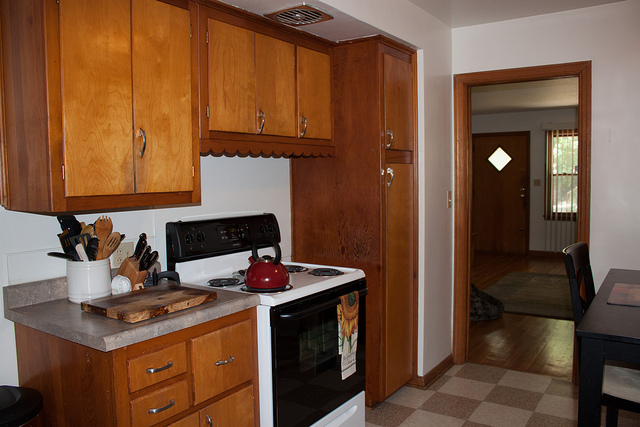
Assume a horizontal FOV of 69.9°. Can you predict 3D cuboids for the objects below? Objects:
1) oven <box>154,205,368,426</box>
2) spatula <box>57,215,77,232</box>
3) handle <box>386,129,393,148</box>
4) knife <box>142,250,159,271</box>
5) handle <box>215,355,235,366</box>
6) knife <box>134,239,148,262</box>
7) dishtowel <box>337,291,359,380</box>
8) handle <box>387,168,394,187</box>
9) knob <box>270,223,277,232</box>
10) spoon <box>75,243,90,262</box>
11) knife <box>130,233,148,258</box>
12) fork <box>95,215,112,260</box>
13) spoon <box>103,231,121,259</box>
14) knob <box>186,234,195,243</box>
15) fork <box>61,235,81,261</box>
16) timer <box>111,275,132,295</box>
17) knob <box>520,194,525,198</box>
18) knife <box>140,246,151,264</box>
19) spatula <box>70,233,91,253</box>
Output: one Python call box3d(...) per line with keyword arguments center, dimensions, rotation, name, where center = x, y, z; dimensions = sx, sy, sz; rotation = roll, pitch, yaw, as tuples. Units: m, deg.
box3d(center=(-0.322, 0.771, 2.985), dimensions=(1.117, 1.556, 0.899), rotation=(2, 7, 21), name="oven")
box3d(center=(-1.338, 0.054, 2.414), dimensions=(0.099, 0.082, 0.046), rotation=(1, 7, 16), name="spatula")
box3d(center=(0.516, -0.551, 3.384), dimensions=(0.073, 0.108, 0.024), rotation=(0, 3, -43), name="handle")
box3d(center=(-0.984, 0.269, 2.648), dimensions=(0.030, 0.114, 0.066), rotation=(38, 2, -24), name="knife")
box3d(center=(-0.495, 0.779, 2.407), dimensions=(0.032, 0.024, 0.085), rotation=(7, 18, 37), name="handle")
box3d(center=(-1.027, 0.218, 2.611), dimensions=(0.035, 0.169, 0.045), rotation=(24, 3, -39), name="knife")
box3d(center=(0.184, 0.790, 2.965), dimensions=(0.039, 0.524, 0.257), rotation=(-2, -1, 33), name="dishtowel")
box3d(center=(0.518, -0.274, 3.408), dimensions=(0.023, 0.108, 0.074), rotation=(3, 4, -1), name="handle")
box3d(center=(-0.341, 0.100, 3.301), dimensions=(0.014, 0.050, 0.048), rotation=(-12, -8, 44), name="knob")
box3d(center=(-1.248, 0.205, 2.395), dimensions=(0.028, 0.106, 0.028), rotation=(-21, 25, -3), name="spoon")
box3d(center=(-1.025, 0.174, 2.600), dimensions=(0.039, 0.210, 0.034), rotation=(24, 10, -10), name="knife")
box3d(center=(-1.134, 0.159, 2.368), dimensions=(0.084, 0.326, 0.035), rotation=(15, -43, -34), name="fork")
box3d(center=(-1.118, 0.166, 2.455), dimensions=(0.047, 0.183, 0.024), rotation=(21, 11, -33), name="spoon")
box3d(center=(-0.811, 0.158, 2.854), dimensions=(0.012, 0.052, 0.057), rotation=(4, 8, 37), name="knob")
box3d(center=(-1.305, 0.196, 2.390), dimensions=(0.045, 0.179, 0.025), rotation=(-18, 4, -6), name="fork")
box3d(center=(-1.104, 0.397, 2.533), dimensions=(0.080, 0.105, 0.068), rotation=(-9, 51, -25), name="timer")
box3d(center=(4.038, -0.356, 9.116), dimensions=(0.056, 0.074, 0.032), rotation=(2, 0, 13), name="knob")
box3d(center=(-0.997, 0.238, 2.601), dimensions=(0.058, 0.100, 0.017), rotation=(1, 6, 11), name="knife")
box3d(center=(-1.253, 0.146, 2.389), dimensions=(0.069, 0.106, 0.076), rotation=(14, 19, 35), name="spatula")
